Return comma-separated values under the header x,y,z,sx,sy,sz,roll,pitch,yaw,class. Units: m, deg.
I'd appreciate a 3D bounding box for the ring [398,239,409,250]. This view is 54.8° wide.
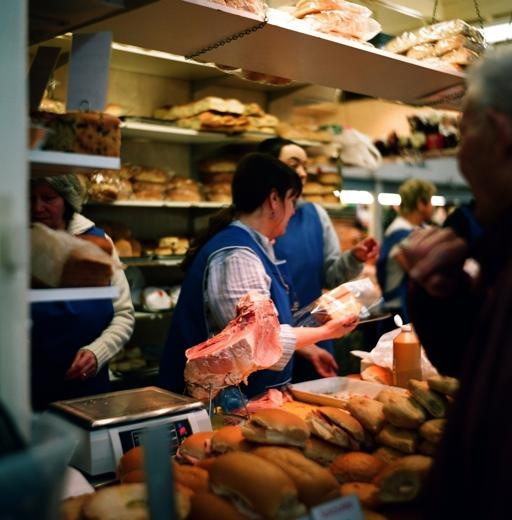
x,y,z,sx,sy,sz,roll,pitch,yaw,class
0.288,-0.031,0.965,0.005,0.018,0.020,20,14,13,ring

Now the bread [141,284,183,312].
x,y,z,sx,sy,sz,roll,pitch,yaw,class
-0.744,0.300,3.881,0.312,0.063,0.295,7,9,22,bread

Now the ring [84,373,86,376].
x,y,z,sx,sy,sz,roll,pitch,yaw,class
-0.736,0.491,2.114,0.009,0.010,0.003,6,-8,-8,ring

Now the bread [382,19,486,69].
x,y,z,sx,sy,sz,roll,pitch,yaw,class
0.899,-1.058,2.409,0.350,0.112,0.356,3,-5,-41,bread

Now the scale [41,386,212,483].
x,y,z,sx,sy,sz,roll,pitch,yaw,class
-0.397,0.502,1.548,0.508,0.122,0.471,-2,0,-4,scale

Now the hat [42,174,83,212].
x,y,z,sx,sy,sz,roll,pitch,yaw,class
-0.695,-0.251,1.859,0.124,0.129,0.144,7,-5,7,hat

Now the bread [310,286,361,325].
x,y,z,sx,sy,sz,roll,pitch,yaw,class
0.332,0.188,2.064,0.191,0.128,0.063,-19,-37,-8,bread
